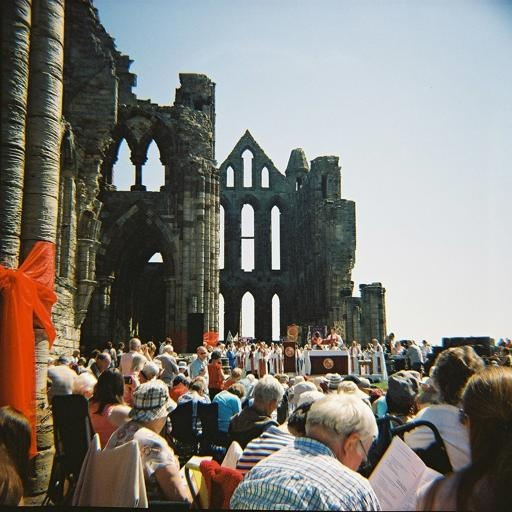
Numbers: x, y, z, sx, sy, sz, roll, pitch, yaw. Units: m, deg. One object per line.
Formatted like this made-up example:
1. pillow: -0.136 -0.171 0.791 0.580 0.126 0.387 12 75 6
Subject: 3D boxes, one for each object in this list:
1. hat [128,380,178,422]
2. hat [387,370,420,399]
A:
1. hat: -0.756 1.045 4.176 0.224 0.172 0.311 1 11 10
2. hat: 1.335 1.132 5.098 0.197 0.115 0.296 6 -3 9
